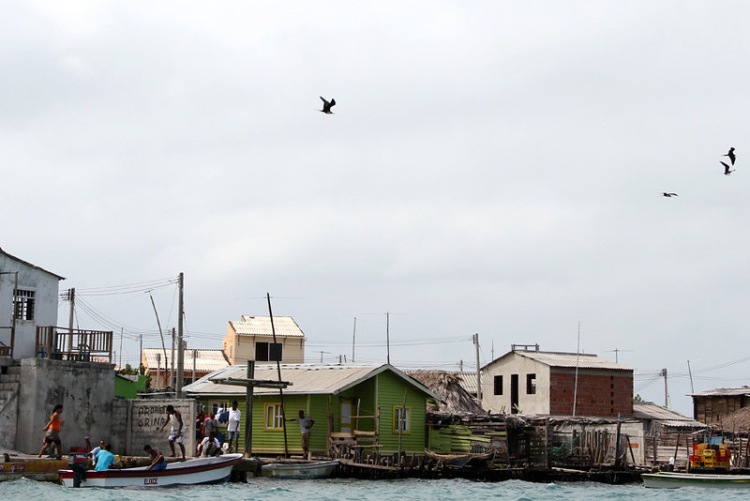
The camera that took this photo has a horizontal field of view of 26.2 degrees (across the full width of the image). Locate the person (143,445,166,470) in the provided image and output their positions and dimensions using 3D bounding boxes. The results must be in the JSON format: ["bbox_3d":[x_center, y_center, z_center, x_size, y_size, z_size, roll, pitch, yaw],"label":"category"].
[{"bbox_3d":[-9.917,9.282,72.845,0.916,1.195,1.544,0,-15,-4],"label":"person"}]

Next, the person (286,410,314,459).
[{"bbox_3d":[-3.759,9.331,81.561,1.352,2.198,1.174,21,-40,-28],"label":"person"}]

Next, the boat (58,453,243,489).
[{"bbox_3d":[-9.854,10.171,73.374,9.262,1.173,2.339,1,-6,-29],"label":"boat"}]

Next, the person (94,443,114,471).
[{"bbox_3d":[-12.212,9.224,72.398,0.886,1.220,0.445,1,-16,-7],"label":"person"}]
